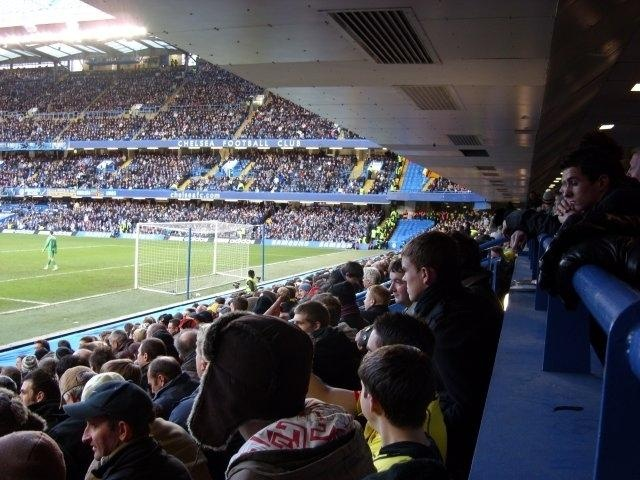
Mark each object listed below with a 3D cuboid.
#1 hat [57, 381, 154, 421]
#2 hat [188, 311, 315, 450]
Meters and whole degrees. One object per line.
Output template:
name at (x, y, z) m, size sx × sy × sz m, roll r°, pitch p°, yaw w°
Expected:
hat at (-1.006, 0.788, 2.319) m, size 0.303 × 0.154 × 0.206 m, roll 7°, pitch -16°, yaw -4°
hat at (-0.231, 0.469, 1.614) m, size 0.381 × 0.436 × 0.182 m, roll -2°, pitch -2°, yaw 15°
